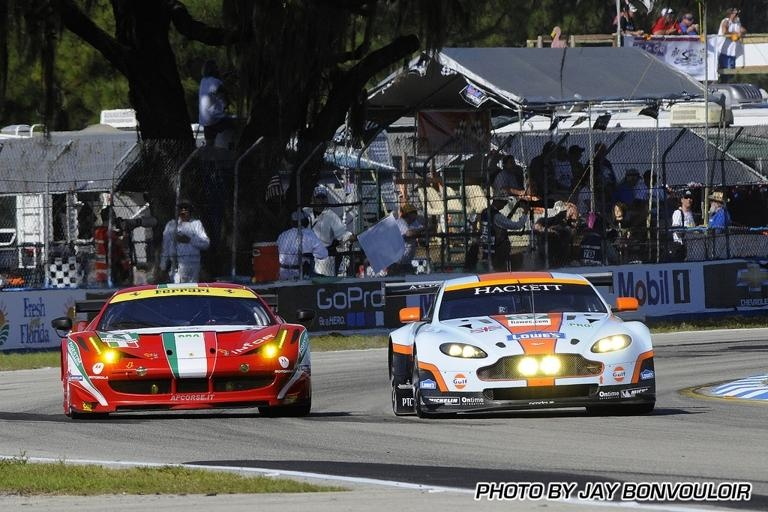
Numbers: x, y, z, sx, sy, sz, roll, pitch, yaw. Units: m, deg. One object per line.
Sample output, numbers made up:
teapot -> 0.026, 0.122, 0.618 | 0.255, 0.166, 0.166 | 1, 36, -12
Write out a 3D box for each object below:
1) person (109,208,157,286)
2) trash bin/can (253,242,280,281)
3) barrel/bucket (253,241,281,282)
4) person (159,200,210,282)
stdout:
person -> -5.269, -0.214, 34.973 | 0.885, 1.268, 0.342 | 5, -16, -23
trash bin/can -> -2.498, 0.144, 35.746 | 0.558, 0.952, 0.688 | -1, -9, 10
barrel/bucket -> -2.460, 0.166, 35.756 | 0.765, 1.059, 0.674 | -1, -3, 14
person -> -4.147, -0.301, 35.136 | 1.005, 1.720, 0.489 | -2, 12, -9
